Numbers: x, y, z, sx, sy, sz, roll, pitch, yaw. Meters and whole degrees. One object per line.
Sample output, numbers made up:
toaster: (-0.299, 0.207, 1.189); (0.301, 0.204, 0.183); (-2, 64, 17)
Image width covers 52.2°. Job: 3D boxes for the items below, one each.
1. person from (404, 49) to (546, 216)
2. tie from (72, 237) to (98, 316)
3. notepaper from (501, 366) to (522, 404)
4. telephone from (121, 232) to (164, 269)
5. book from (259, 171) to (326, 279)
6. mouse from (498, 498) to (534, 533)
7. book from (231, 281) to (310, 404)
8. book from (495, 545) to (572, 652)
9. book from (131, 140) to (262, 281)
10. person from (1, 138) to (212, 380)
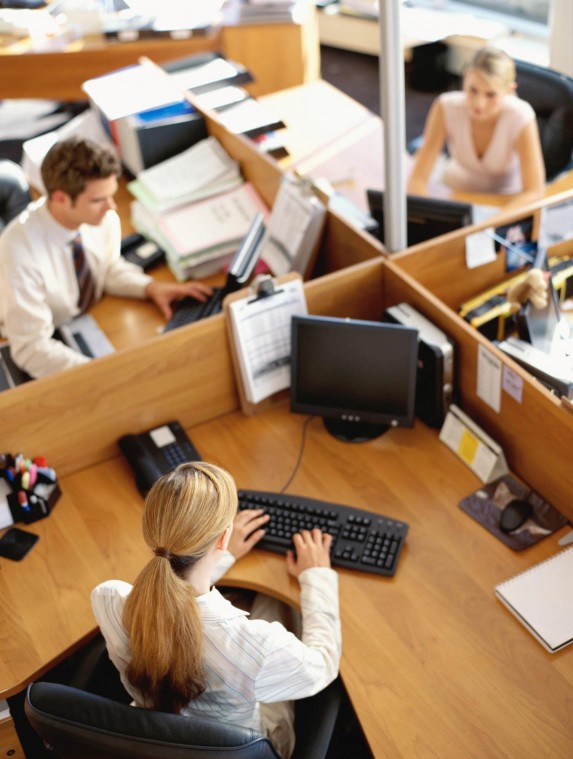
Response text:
person: (0.876, -1.051, 2.599); (0.543, 0.767, 0.473); (26, 63, 28)
tie: (-0.800, -0.407, 2.294); (0.051, 0.229, 0.168); (-9, -2, -6)
notepaper: (0.554, 0.010, 1.438); (0.009, 0.080, 0.069); (-33, 58, -10)
telephone: (-0.625, -0.549, 2.506); (0.162, 0.045, 0.164); (42, 56, 18)
book: (0.019, -0.546, 2.159); (0.099, 0.398, 0.282); (4, 19, -37)
mouse: (0.563, 0.328, 1.434); (0.115, 0.048, 0.054); (-23, 37, -29)
book: (-0.047, -0.116, 1.711); (0.262, 0.384, 0.039); (-20, 34, -28)
book: (0.570, 0.474, 1.255); (0.187, 0.073, 0.160); (-12, 33, -14)
book: (-0.405, -0.776, 2.545); (0.490, 0.227, 0.665); (-21, 58, -14)
person: (-0.677, -0.428, 2.193); (0.512, 0.789, 0.547); (30, 55, 15)
